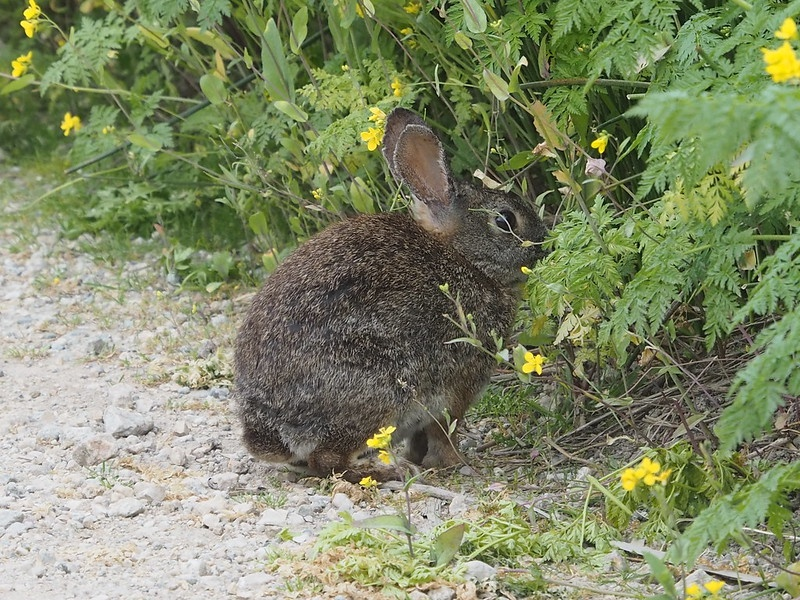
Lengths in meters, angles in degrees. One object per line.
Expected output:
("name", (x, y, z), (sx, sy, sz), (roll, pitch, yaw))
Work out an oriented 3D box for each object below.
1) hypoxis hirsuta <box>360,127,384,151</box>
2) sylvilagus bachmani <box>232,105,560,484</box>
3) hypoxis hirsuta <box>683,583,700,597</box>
("hypoxis hirsuta", (-0.161, -0.846, 4.499), (0.060, 0.139, 0.142), (-21, 16, 23))
("sylvilagus bachmani", (-0.247, -0.209, 4.561), (1.105, 1.928, 1.796), (13, 21, 38))
("hypoxis hirsuta", (1.023, 1.016, 2.966), (0.041, 0.107, 0.054), (-2, 68, 22))
